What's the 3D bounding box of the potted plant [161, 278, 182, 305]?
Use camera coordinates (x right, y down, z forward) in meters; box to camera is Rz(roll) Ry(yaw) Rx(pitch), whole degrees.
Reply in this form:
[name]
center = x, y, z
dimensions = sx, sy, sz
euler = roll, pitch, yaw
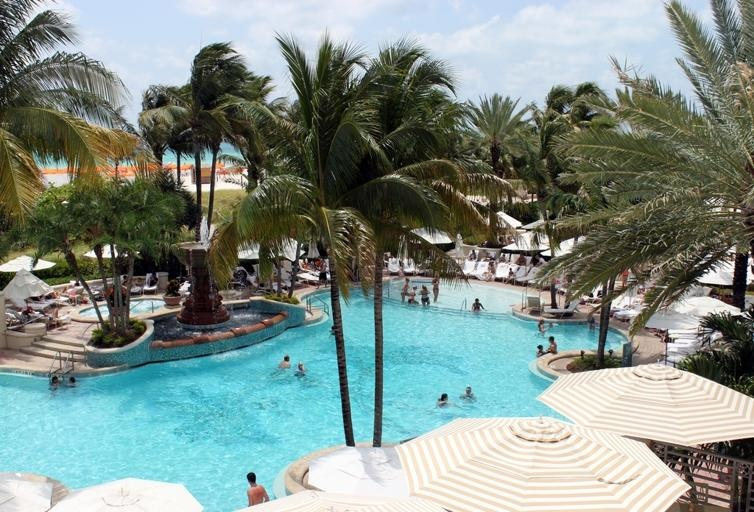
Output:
[potted plant]
center = -11.196, 1.985, 30.954
dimensions = 1.156, 1.617, 1.229
euler = 4, 6, 41
